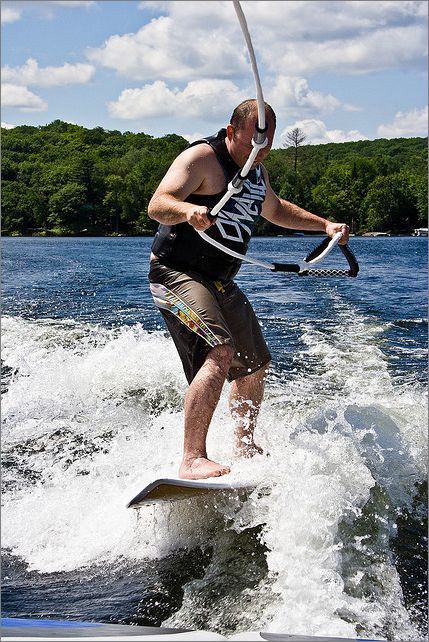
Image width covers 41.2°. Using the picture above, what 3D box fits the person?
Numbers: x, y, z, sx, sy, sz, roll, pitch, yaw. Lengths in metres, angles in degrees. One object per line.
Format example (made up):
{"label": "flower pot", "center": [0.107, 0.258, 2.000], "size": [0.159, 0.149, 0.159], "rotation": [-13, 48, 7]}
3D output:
{"label": "person", "center": [0.082, -0.127, 2.880], "size": [0.718, 1.797, 1.364], "rotation": [3, 9, 26]}
